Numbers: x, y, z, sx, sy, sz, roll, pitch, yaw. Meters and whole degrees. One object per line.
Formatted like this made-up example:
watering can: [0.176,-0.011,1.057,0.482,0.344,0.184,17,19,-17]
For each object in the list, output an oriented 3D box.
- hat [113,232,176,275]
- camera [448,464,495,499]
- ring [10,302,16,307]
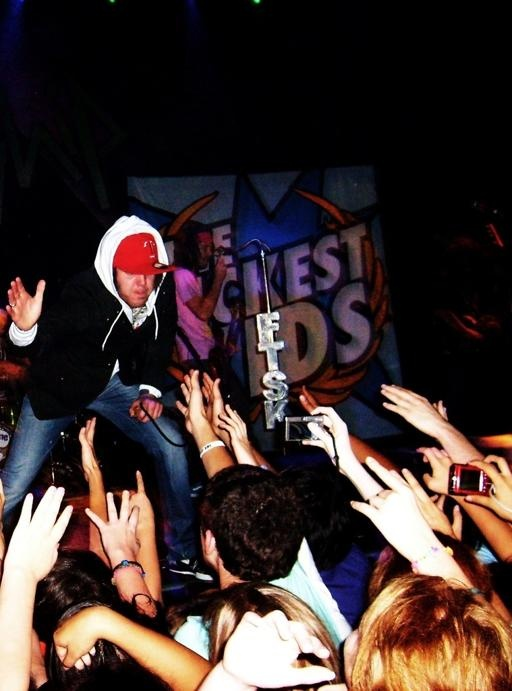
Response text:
hat: [-0.654,-0.539,3.260,0.308,0.171,0.204,4,5,32]
camera: [0.581,0.368,1.470,0.081,0.084,0.148,17,-17,-34]
ring: [-1.260,-0.208,2.839,0.036,0.025,0.021,-4,5,-28]
